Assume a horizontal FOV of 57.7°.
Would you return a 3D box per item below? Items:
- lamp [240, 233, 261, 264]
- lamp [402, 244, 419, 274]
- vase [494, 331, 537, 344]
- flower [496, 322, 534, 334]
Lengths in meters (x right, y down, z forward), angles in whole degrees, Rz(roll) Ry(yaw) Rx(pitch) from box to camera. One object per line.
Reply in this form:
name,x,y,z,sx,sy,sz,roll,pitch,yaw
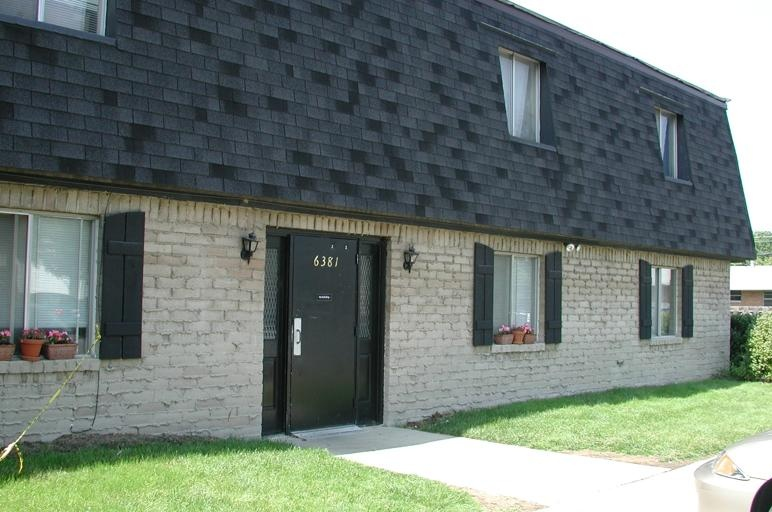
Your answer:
lamp,-2.210,-0.125,11.453,0.310,0.524,0.158,4,4,-22
lamp,0.505,0.063,13.082,0.376,0.524,0.151,2,5,-40
vase,2.754,1.720,14.731,1.021,0.174,0.195,2,4,-35
flower,2.743,1.553,14.814,0.515,0.147,0.331,2,-1,-5
